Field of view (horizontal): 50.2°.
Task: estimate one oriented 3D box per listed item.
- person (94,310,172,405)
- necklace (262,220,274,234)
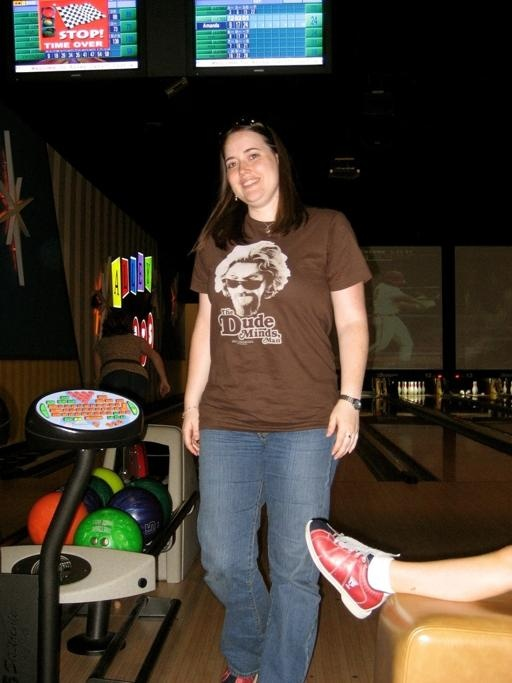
[{"bbox_3d":[-0.878,0.335,3.962,0.462,1.091,0.431,-2,-27,-11],"label":"person"},{"bbox_3d":[0.028,-0.266,1.287,0.029,0.032,0.030,0,-16,13],"label":"necklace"}]
